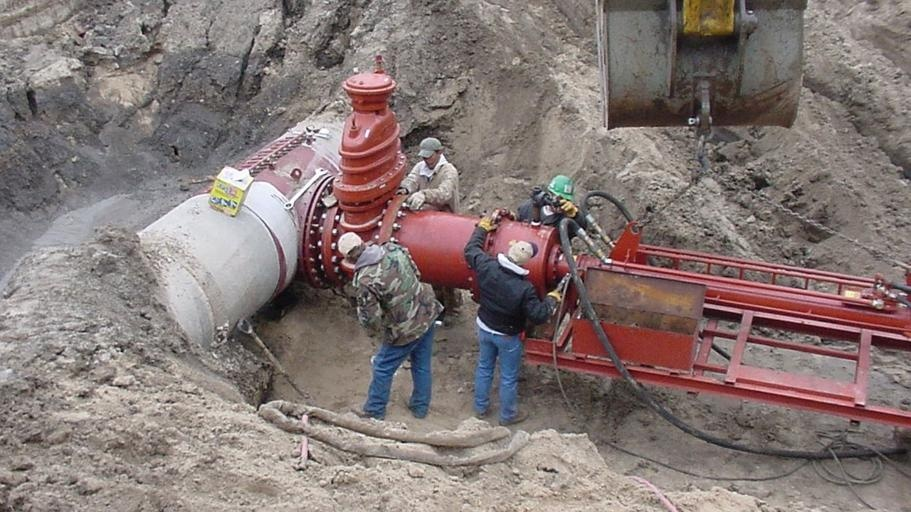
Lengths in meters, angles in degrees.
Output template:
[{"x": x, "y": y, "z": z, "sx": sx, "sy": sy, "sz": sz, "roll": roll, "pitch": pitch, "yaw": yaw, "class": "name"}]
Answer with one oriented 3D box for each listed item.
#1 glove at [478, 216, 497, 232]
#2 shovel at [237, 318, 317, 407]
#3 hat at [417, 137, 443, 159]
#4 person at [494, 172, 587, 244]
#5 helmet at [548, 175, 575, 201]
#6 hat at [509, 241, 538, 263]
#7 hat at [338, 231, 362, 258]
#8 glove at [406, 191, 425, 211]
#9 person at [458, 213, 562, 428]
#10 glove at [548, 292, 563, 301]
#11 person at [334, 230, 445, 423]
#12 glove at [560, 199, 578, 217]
[{"x": 0.429, "y": -0.425, "z": 12.037, "sx": 0.206, "sy": 0.055, "sz": 0.202, "roll": 9, "pitch": 37, "yaw": -23, "class": "glove"}, {"x": -2.436, "y": 1.502, "z": 12.441, "sx": 0.250, "sy": 1.404, "sz": 0.103, "roll": -37, "pitch": 14, "yaw": -1, "class": "shovel"}, {"x": -0.306, "y": -1.513, "z": 12.869, "sx": 0.412, "sy": 0.239, "sz": 0.299, "roll": -24, "pitch": 32, "yaw": -38, "class": "hat"}, {"x": 1.312, "y": -0.679, "z": 12.307, "sx": 0.394, "sy": 0.775, "sz": 0.784, "roll": 20, "pitch": 10, "yaw": -42, "class": "person"}, {"x": 1.376, "y": -0.900, "z": 12.184, "sx": 0.376, "sy": 0.196, "sz": 0.276, "roll": 23, "pitch": 22, "yaw": 13, "class": "helmet"}, {"x": 0.867, "y": -0.050, "z": 11.783, "sx": 0.326, "sy": 0.326, "sz": 0.419, "roll": 9, "pitch": 24, "yaw": 13, "class": "hat"}, {"x": -1.324, "y": -0.155, "z": 11.652, "sx": 0.339, "sy": 0.265, "sz": 0.239, "roll": -26, "pitch": 47, "yaw": 24, "class": "hat"}, {"x": -0.521, "y": -0.740, "z": 12.408, "sx": 0.289, "sy": 0.214, "sz": 0.217, "roll": -5, "pitch": 25, "yaw": -18, "class": "glove"}, {"x": 0.630, "y": 0.931, "z": 12.011, "sx": 1.262, "sy": 2.542, "sz": 0.661, "roll": 18, "pitch": 28, "yaw": 31, "class": "person"}, {"x": 1.280, "y": 0.525, "z": 11.724, "sx": 0.127, "sy": 0.138, "sz": 0.150, "roll": 21, "pitch": 29, "yaw": 34, "class": "glove"}, {"x": -0.809, "y": 1.000, "z": 11.844, "sx": 1.218, "sy": 2.452, "sz": 0.669, "roll": 1, "pitch": 24, "yaw": -4, "class": "person"}, {"x": 1.498, "y": -0.618, "z": 12.099, "sx": 0.252, "sy": 0.106, "sz": 0.185, "roll": 27, "pitch": 3, "yaw": -4, "class": "glove"}]
